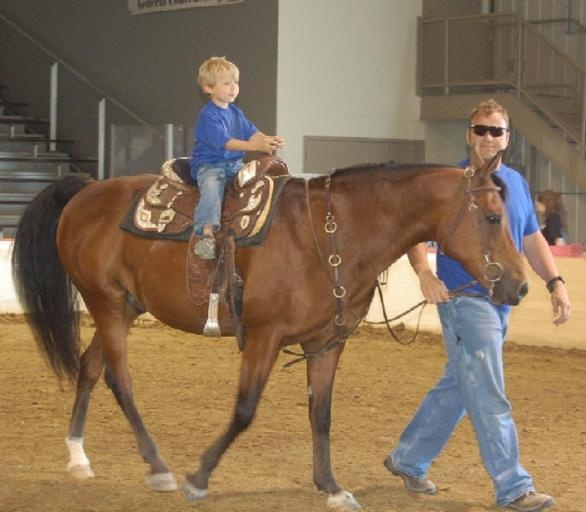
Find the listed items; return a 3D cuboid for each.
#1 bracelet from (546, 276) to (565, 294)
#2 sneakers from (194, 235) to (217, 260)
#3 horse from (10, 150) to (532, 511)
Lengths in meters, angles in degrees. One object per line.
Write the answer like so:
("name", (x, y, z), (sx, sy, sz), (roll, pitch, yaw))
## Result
("bracelet", (1.981, 0.226, 10.018), (0.067, 0.139, 0.112), (53, 10, 25))
("sneakers", (-0.666, -0.053, 9.716), (0.175, 0.160, 0.063), (7, 7, 15))
("horse", (-0.408, 0.542, 9.973), (4.031, 2.624, 0.908), (5, 13, 21))
